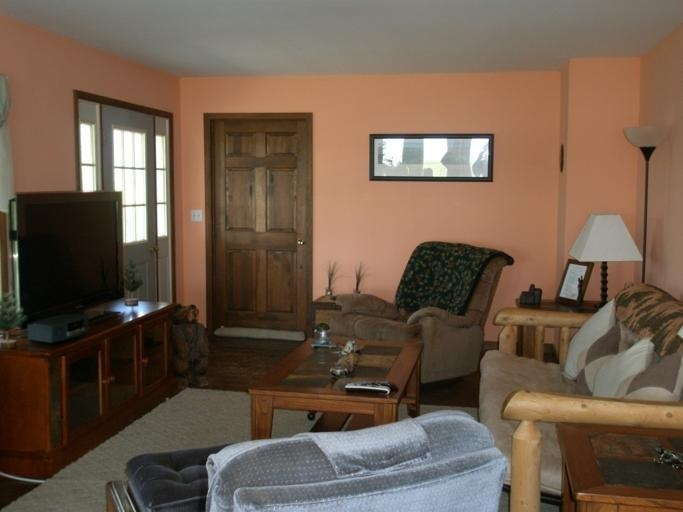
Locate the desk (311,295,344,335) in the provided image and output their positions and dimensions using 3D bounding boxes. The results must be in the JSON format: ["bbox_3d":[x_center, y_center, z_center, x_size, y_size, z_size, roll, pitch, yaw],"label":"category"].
[{"bbox_3d":[-0.200,0.647,5.422,0.382,0.272,0.385,0,-10,10],"label":"desk"}]

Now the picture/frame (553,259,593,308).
[{"bbox_3d":[2.003,0.242,4.687,0.050,0.379,0.324,15,9,-16],"label":"picture/frame"}]

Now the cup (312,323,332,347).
[{"bbox_3d":[-0.129,0.533,3.665,0.138,0.148,0.131,1,-1,0],"label":"cup"}]
